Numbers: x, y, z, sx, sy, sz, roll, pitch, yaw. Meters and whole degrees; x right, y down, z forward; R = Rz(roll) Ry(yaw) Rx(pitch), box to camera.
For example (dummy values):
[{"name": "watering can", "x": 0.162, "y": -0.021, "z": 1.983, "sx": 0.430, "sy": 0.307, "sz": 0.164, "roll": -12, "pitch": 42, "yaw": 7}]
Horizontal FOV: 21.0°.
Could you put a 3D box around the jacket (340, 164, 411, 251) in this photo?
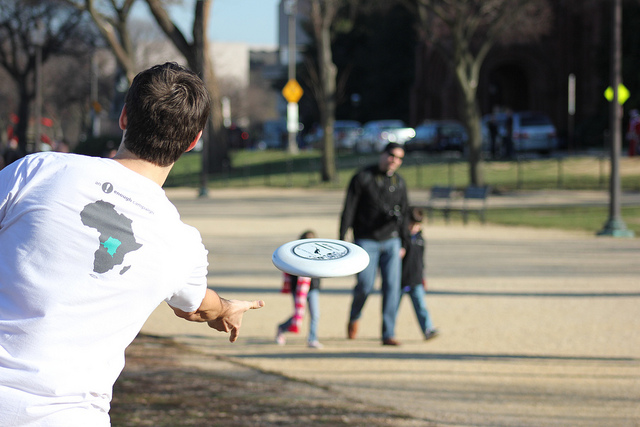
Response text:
[{"name": "jacket", "x": 1.531, "y": -0.051, "z": 44.628, "sx": 2.015, "sy": 2.435, "sz": 1.279, "roll": 4, "pitch": -5, "yaw": -14}]

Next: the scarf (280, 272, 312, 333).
[{"name": "scarf", "x": -0.616, "y": 2.310, "z": 44.689, "sx": 0.789, "sy": 1.550, "sz": 0.773, "roll": 1, "pitch": 0, "yaw": -1}]

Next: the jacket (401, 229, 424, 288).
[{"name": "jacket", "x": 2.472, "y": 1.182, "z": 44.409, "sx": 0.674, "sy": 1.592, "sz": 0.387, "roll": 13, "pitch": -7, "yaw": 5}]
